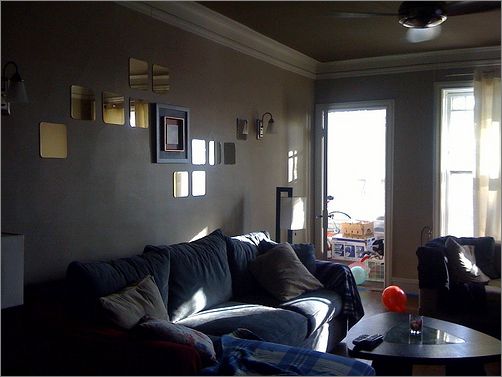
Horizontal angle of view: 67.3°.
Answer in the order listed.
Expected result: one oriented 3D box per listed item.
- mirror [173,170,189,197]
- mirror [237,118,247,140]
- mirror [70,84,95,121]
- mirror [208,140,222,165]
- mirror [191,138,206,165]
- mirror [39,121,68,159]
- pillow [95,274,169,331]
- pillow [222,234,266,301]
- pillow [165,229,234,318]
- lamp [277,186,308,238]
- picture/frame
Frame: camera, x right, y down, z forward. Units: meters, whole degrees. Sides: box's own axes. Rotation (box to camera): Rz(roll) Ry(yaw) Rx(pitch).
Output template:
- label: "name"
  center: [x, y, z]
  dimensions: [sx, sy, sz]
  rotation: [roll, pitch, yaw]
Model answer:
- label: "mirror"
  center: [-0.717, -0.055, 3.748]
  dimensions: [0.025, 0.282, 0.248]
  rotation: [-2, -3, 31]
- label: "mirror"
  center: [-0.115, -0.723, 4.549]
  dimensions: [0.025, 0.256, 0.225]
  rotation: [4, 3, 33]
- label: "mirror"
  center: [-1.322, -0.671, 2.907]
  dimensions: [0.020, 0.317, 0.301]
  rotation: [-1, 0, 25]
- label: "mirror"
  center: [-0.414, -0.402, 4.138]
  dimensions: [0.036, 0.307, 0.258]
  rotation: [-2, -4, 31]
- label: "mirror"
  center: [-0.564, -0.394, 3.942]
  dimensions: [0.028, 0.306, 0.275]
  rotation: [-2, -3, 30]
- label: "mirror"
  center: [-1.450, -0.349, 2.734]
  dimensions: [0.019, 0.260, 0.207]
  rotation: [4, 3, 31]
- label: "pillow"
  center: [-0.808, 0.819, 2.620]
  dimensions: [0.282, 0.288, 0.520]
  rotation: [4, 3, 16]
- label: "pillow"
  center: [-0.098, 0.776, 3.775]
  dimensions: [0.143, 0.504, 0.476]
  rotation: [-20, -14, 34]
- label: "pillow"
  center: [-0.463, 0.779, 3.333]
  dimensions: [0.208, 0.491, 0.633]
  rotation: [-5, -1, 31]
- label: "lamp"
  center: [0.499, 0.343, 4.789]
  dimensions: [0.396, 0.717, 0.322]
  rotation: [3, 3, 3]
- label: "picture/frame"
  center: [-0.781, -0.538, 3.630]
  dimensions: [0.069, 0.724, 0.597]
  rotation: [-1, -1, 32]
